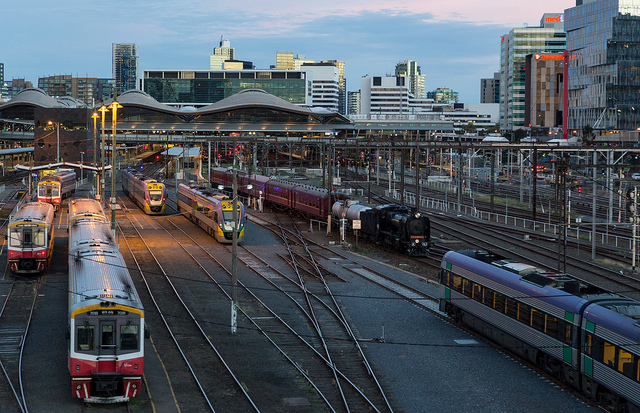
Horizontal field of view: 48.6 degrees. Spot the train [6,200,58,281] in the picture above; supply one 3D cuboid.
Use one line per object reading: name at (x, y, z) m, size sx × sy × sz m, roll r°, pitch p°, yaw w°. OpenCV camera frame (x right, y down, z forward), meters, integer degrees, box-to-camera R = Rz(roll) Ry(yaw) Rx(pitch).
train at (-21.702, 2.500, 53.576) m, size 2.654 × 4.348 × 6.918 m, roll -5°, pitch 11°, yaw -16°
